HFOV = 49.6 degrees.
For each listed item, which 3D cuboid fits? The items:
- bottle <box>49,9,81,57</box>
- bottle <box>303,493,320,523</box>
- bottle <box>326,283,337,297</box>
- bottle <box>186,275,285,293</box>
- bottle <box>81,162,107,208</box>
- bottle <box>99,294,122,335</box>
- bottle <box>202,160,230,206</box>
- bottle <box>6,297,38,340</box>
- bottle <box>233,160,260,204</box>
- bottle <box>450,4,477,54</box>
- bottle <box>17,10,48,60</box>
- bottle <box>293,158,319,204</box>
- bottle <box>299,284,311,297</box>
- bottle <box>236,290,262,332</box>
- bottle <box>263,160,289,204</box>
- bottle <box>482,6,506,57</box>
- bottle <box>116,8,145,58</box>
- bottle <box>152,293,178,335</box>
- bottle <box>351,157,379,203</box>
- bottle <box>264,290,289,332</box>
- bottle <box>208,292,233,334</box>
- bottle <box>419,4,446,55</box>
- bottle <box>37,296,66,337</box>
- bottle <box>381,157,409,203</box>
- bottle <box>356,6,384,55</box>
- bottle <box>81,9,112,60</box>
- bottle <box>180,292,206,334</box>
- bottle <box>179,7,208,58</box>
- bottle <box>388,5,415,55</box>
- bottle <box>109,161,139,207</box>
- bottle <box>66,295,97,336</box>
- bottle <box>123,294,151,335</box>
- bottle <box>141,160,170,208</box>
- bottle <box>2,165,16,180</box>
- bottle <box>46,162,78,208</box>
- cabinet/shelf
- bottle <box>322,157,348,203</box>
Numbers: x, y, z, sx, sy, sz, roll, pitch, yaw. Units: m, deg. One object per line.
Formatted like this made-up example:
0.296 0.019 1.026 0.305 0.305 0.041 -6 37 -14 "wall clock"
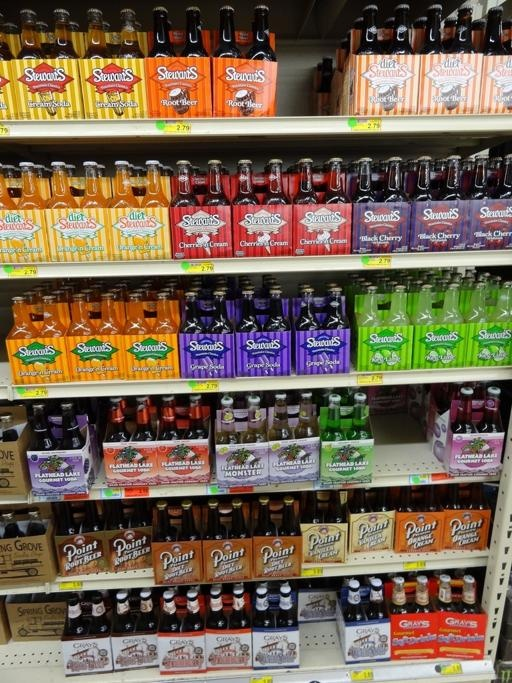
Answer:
-0.643 -1.014 1.835 0.086 0.151 0.267 -10 25 -13 "bottle"
0.234 0.698 2.316 0.036 0.125 0.033 3 36 18 "bottle"
0.283 -0.193 2.076 0.042 0.043 0.040 -10 38 -17 "bottle"
-0.103 -0.236 2.263 0.250 0.053 0.160 0 20 -1 "bottle"
-0.572 -0.550 1.915 0.087 0.148 0.179 -10 26 -13 "bottle"
-0.533 -0.102 1.985 0.077 0.134 0.121 -10 26 -13 "bottle"
-0.143 -0.573 1.960 0.088 0.148 0.245 -4 25 -2 "bottle"
-0.843 -0.091 1.962 0.102 0.136 0.191 -14 27 -21 "bottle"
-0.039 -0.572 1.957 0.087 0.147 0.232 -4 25 -1 "bottle"
0.724 -1.090 1.937 0.081 0.143 0.134 5 26 16 "bottle"
-0.753 -1.010 1.827 0.088 0.154 0.258 -11 26 -15 "bottle"
0.180 -0.579 1.981 0.082 0.153 0.271 0 25 6 "bottle"
0.189 -0.189 2.054 0.045 0.044 0.043 2 19 8 "bottle"
-0.034 -0.129 2.023 0.086 0.139 0.203 -4 25 -2 "bottle"
0.070 -0.572 1.961 0.085 0.148 0.169 -2 25 2 "bottle"
0.835 -1.082 1.931 0.084 0.140 0.086 -3 25 1 "bottle"
-0.422 -1.027 1.846 0.077 0.164 0.258 -7 25 -7 "bottle"
-0.332 -0.106 1.994 0.086 0.131 0.148 -7 25 -7 "bottle"
0.394 -0.587 1.999 0.087 0.148 0.248 2 25 10 "bottle"
0.076 -0.130 2.031 0.092 0.155 0.211 -2 25 3 "bottle"
-0.131 -0.120 2.018 0.084 0.143 0.193 -4 25 -2 "bottle"
0.616 -1.082 1.922 0.073 0.162 0.293 4 25 15 "bottle"
-0.742 -0.093 1.986 0.088 0.137 0.114 -12 27 -18 "bottle"
0.508 -0.595 2.013 0.085 0.145 0.252 3 25 14 "bottle"
0.387 -1.063 1.888 0.080 0.155 0.178 1 25 10 "bottle"
-0.537 -1.026 1.848 0.089 0.161 0.277 -9 25 -11 "bottle"
-0.232 -0.105 1.980 0.088 0.142 0.125 -6 25 -5 "bottle"
-0.209 -1.025 1.840 0.087 0.156 0.222 -5 25 -2 "bottle"
0.494 -1.059 1.880 0.075 0.160 0.195 2 25 12 "bottle"
-0.471 -0.565 1.950 0.092 0.149 0.255 -8 25 -10 "bottle"
-0.633 -0.095 1.977 0.095 0.133 0.128 -11 26 -16 "bottle"
-0.432 -0.096 1.972 0.088 0.133 0.125 -6 25 -6 "bottle"
-0.364 -0.571 1.967 0.095 0.148 0.296 -7 25 -8 "bottle"
-0.893 -0.614 2.008 0.062 0.060 0.059 1 19 -16 "bottle"
-0.683 -0.549 1.913 0.096 0.148 0.214 -11 26 -16 "bottle"
0.040 0.006 2.102 1.907 2.261 0.651 -3 26 1 "cabinet/shelf"
0.293 -0.590 2.005 0.087 0.153 0.265 1 25 9 "bottle"
